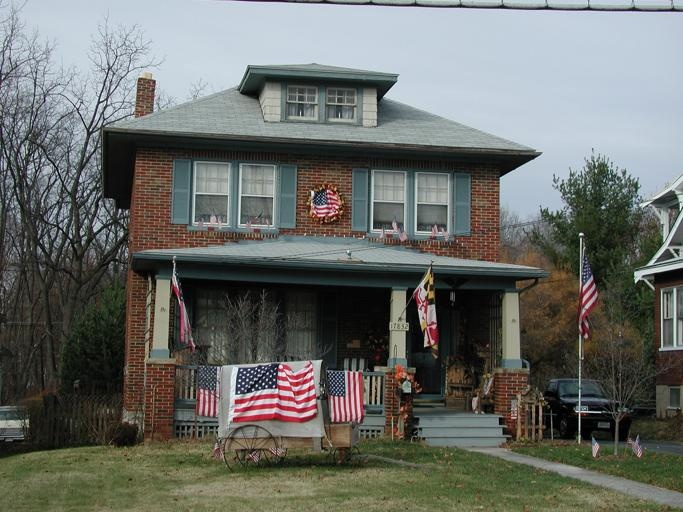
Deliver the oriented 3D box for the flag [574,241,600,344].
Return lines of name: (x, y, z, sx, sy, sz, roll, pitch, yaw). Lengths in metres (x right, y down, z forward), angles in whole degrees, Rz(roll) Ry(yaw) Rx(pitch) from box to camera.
flag: (8.580, 1.195, 45.791, 0.677, 3.815, 0.613, 6, 15, 28)

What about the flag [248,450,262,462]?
flag: (-2.694, 6.159, 39.690, 0.315, 0.360, 0.737, -1, -12, -3)

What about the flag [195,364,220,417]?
flag: (-4.394, 4.378, 42.270, 0.705, 1.667, 0.727, -1, -10, -1)

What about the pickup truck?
pickup truck: (8.877, 6.045, 50.298, 2.345, 2.612, 5.565, 4, -10, -13)

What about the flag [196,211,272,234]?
flag: (-3.882, -1.282, 47.587, 2.904, 0.921, 0.266, 1, -10, -11)

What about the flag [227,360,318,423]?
flag: (-2.092, 4.162, 39.448, 2.604, 1.827, 0.209, -1, -9, -4)

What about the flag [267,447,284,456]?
flag: (-2.025, 6.041, 39.802, 0.506, 0.212, 1.044, -1, -12, -3)

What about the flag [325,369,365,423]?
flag: (0.079, 4.421, 40.572, 1.118, 1.590, 0.411, 2, -10, -16)

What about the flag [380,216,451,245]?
flag: (2.707, -0.858, 48.350, 2.647, 0.803, 0.789, 2, -11, -18)

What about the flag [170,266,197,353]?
flag: (-5.462, 1.830, 44.381, 0.763, 3.162, 3.939, 0, -11, -7)
